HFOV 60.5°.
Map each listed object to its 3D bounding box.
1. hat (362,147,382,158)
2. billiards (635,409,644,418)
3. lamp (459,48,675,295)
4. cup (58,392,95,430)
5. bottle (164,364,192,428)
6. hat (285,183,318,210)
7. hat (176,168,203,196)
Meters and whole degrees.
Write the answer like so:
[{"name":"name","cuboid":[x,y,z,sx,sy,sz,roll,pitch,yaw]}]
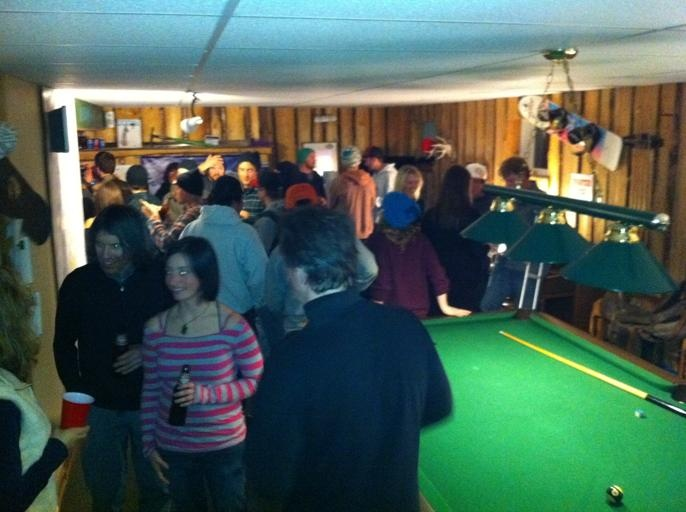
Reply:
[{"name":"hat","cuboid":[0.460,-1.538,8.703,0.314,0.139,0.204,14,20,36]},{"name":"billiards","cuboid":[1.534,0.799,2.996,0.038,0.030,0.035,8,1,-41]},{"name":"lamp","cuboid":[1.810,-0.642,4.561,0.865,1.469,2.418,-1,5,-8]},{"name":"cup","cuboid":[-1.147,0.667,2.559,0.164,0.144,0.160,6,-8,1]},{"name":"bottle","cuboid":[-0.772,0.665,2.786,0.126,0.322,0.106,-4,13,-16]},{"name":"hat","cuboid":[-0.327,-0.501,4.822,0.386,0.157,0.483,-2,6,-7]},{"name":"hat","cuboid":[-1.185,-0.581,4.723,0.249,0.166,0.185,-7,12,-19]}]
